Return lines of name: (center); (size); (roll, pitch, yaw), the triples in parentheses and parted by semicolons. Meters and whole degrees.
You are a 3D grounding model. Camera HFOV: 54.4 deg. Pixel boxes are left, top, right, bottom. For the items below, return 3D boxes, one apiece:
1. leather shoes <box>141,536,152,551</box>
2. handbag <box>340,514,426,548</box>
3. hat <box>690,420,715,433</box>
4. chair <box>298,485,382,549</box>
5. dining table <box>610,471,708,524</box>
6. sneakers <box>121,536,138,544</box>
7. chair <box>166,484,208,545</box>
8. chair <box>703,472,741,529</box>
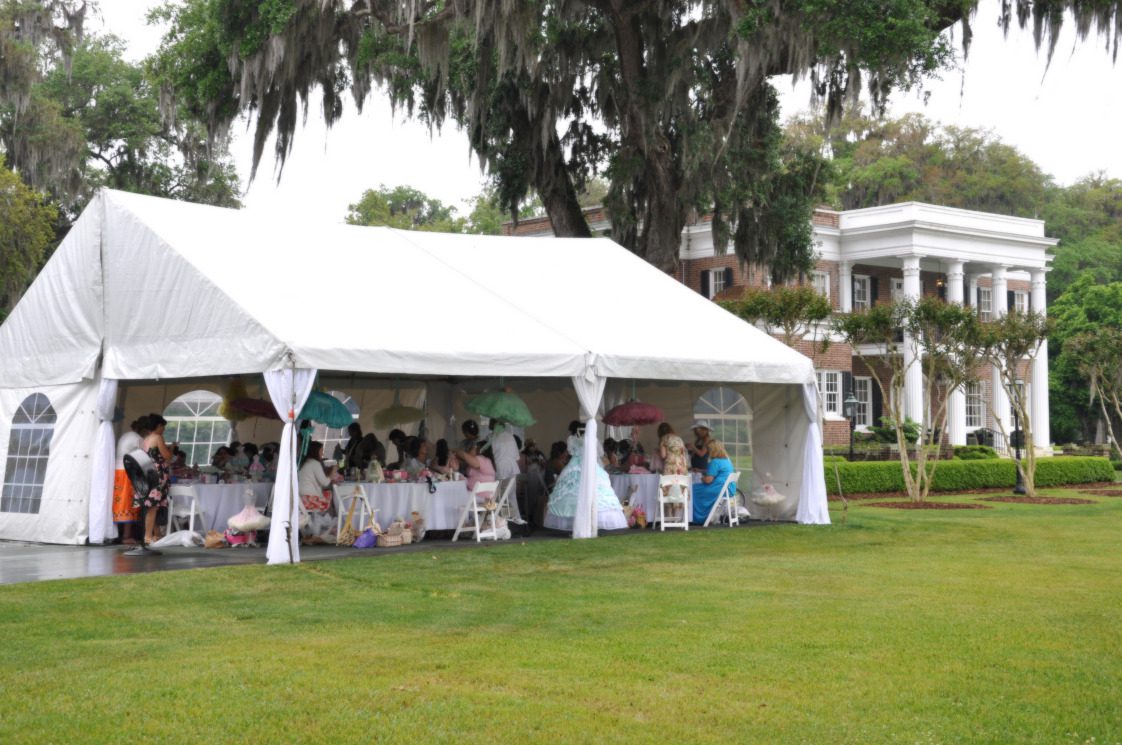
leather shoes: (-6.492, 2.687, 17.071); (0.148, 0.180, 0.562); (3, 2, -12)
handbag: (-2.845, 2.492, 17.201); (1.355, 0.447, 0.715); (0, 2, -12)
hat: (2.711, 0.994, 20.716); (0.243, 0.129, 0.317); (-2, -8, 33)
chair: (-3.357, 2.317, 17.276); (0.867, 1.403, 1.194); (-1, -24, -2)
dining table: (2.123, 2.204, 20.625); (1.535, 0.923, 1.607); (-13, 2, -36)
sneakers: (-7.011, 2.738, 17.784); (0.144, 0.103, 0.143); (3, -7, -44)
chair: (-5.981, 2.200, 17.474); (0.552, 0.945, 0.652); (-6, 3, -21)
chair: (3.139, 2.393, 20.600); (0.930, 1.318, 0.744); (0, -3, 22)
